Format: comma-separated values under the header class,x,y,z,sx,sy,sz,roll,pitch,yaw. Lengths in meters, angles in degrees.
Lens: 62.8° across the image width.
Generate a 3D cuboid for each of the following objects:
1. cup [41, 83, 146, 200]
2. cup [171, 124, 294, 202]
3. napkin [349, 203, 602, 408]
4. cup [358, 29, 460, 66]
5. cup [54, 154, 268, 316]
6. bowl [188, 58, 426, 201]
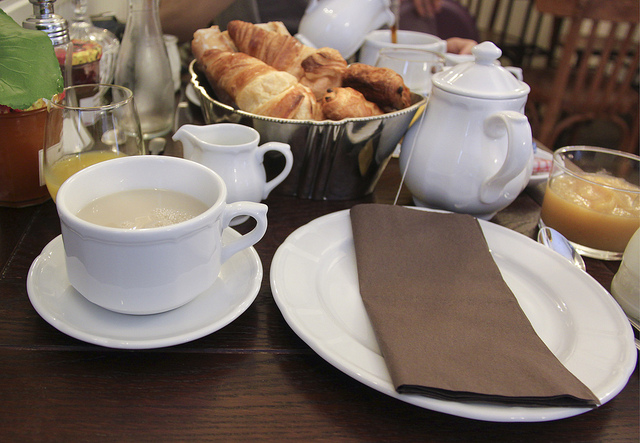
class,x,y,z,sx,sy,sz,roll,pitch,yaw
cup,-0.272,-0.100,0.753,0.153,0.149,0.153,1,27,-1
cup,-0.132,-0.067,0.761,0.178,0.127,0.121,8,23,3
napkin,0.143,0.087,0.616,0.194,0.043,0.316,4,33,-11
cup,0.182,-0.369,1.089,0.164,0.114,0.119,1,18,-8
cup,-0.180,0.023,0.594,0.215,0.117,0.176,10,26,1
bowl,0.000,-0.147,0.880,0.322,0.138,0.284,14,27,23
